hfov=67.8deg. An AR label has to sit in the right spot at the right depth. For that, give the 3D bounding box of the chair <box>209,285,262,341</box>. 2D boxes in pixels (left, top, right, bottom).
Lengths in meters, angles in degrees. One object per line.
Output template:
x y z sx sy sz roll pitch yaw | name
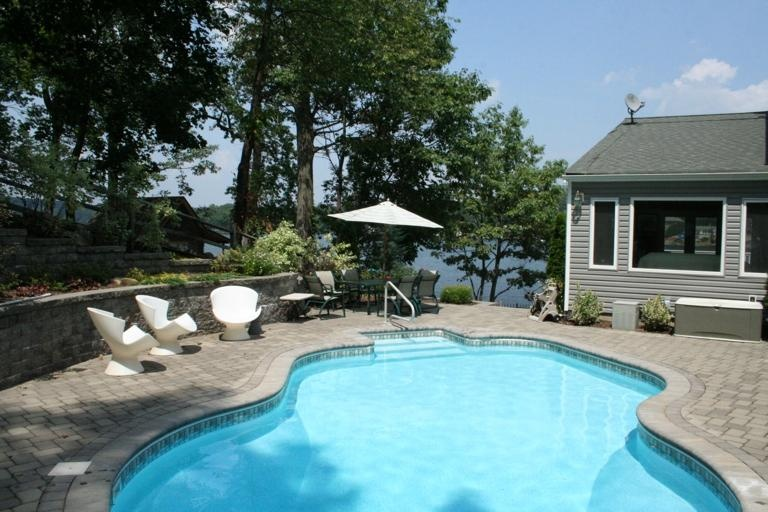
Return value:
-3.693 1.445 14.224 1.205 1.177 1.259 3 6 -4 | chair

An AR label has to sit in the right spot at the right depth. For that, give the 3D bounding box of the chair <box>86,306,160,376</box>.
-5.470 1.845 12.142 1.487 1.417 1.433 0 4 -31 | chair

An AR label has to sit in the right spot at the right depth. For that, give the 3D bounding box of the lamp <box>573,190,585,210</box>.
6.036 -1.731 17.552 0.309 0.581 0.144 0 1 17 | lamp

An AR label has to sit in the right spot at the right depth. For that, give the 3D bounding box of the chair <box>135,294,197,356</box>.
-4.987 1.577 13.015 1.299 1.227 1.104 2 4 -5 | chair

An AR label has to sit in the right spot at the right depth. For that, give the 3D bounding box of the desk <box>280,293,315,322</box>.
-2.490 1.493 16.769 0.718 0.810 1.261 0 0 17 | desk
